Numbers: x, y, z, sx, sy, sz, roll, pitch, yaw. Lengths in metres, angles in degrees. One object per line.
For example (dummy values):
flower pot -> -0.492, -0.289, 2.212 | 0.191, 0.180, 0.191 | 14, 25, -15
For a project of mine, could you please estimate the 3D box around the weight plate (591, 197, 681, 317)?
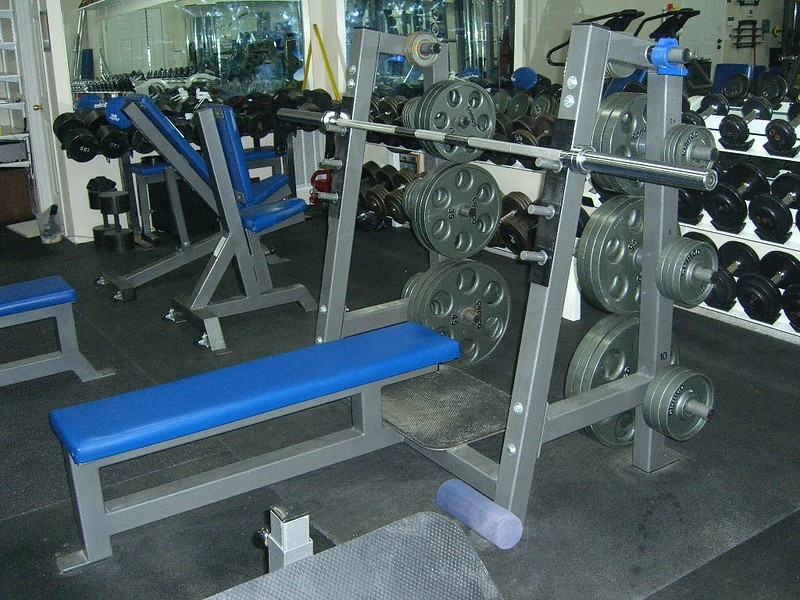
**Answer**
weight plate -> 0.759, -0.142, 2.184 | 0.382, 0.383, 0.118 | -20, 20, -24

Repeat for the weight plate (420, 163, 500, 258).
weight plate -> 0.288, -0.356, 2.691 | 0.382, 0.387, 0.197 | -2, -4, 41

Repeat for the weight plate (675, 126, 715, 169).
weight plate -> 0.898, -0.472, 1.998 | 0.124, 0.127, 0.190 | 9, 25, 23

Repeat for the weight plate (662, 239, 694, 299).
weight plate -> 0.851, -0.100, 2.007 | 0.152, 0.176, 0.061 | -12, 18, -42

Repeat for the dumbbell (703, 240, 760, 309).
dumbbell -> 1.442, -0.113, 2.833 | 0.281, 0.191, 0.188 | -27, 33, -34

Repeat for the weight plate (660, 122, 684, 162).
weight plate -> 0.812, -0.473, 1.958 | 0.039, 0.132, 0.131 | 13, 18, 35

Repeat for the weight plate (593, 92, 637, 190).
weight plate -> 0.751, -0.528, 2.137 | 0.244, 0.245, 0.072 | -19, 28, -20

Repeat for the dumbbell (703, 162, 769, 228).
dumbbell -> 1.646, -0.468, 3.122 | 0.337, 0.262, 0.263 | -15, 10, -23

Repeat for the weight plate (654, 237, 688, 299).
weight plate -> 0.835, -0.105, 2.013 | 0.059, 0.180, 0.163 | 11, 15, 43

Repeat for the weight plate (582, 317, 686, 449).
weight plate -> 0.758, 0.273, 2.138 | 0.409, 0.412, 0.122 | -7, 14, -38

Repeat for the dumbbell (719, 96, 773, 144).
dumbbell -> 1.651, -0.853, 3.125 | 0.131, 0.141, 0.305 | 27, 45, 34

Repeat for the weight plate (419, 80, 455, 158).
weight plate -> 0.130, -0.686, 2.453 | 0.095, 0.224, 0.242 | 2, -16, 30

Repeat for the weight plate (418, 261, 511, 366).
weight plate -> 0.235, 0.043, 2.743 | 0.427, 0.412, 0.297 | -11, 15, -33

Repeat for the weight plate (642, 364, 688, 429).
weight plate -> 0.847, 0.307, 2.097 | 0.173, 0.190, 0.078 | -10, 19, -35
